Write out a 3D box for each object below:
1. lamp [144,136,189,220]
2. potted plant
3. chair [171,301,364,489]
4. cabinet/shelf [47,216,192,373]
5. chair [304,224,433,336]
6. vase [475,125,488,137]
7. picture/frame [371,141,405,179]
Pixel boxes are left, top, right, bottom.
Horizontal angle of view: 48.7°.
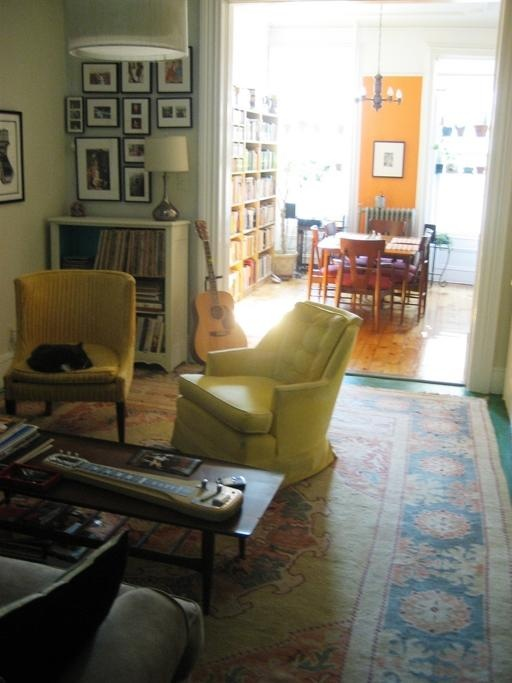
[{"bbox_3d":[-0.659,-1.222,4.242,0.294,0.634,0.451,1,15,-4],"label":"lamp"},{"bbox_3d":[0.887,-1.750,8.820,1.082,1.731,0.953,-8,3,-19],"label":"potted plant"},{"bbox_3d":[0.065,0.229,2.949,0.844,0.718,0.759,-10,19,-38],"label":"chair"},{"bbox_3d":[-0.935,-0.334,3.936,1.243,1.308,0.480,3,10,11],"label":"cabinet/shelf"},{"bbox_3d":[1.251,-0.753,6.392,1.350,0.955,1.594,6,15,15],"label":"chair"},{"bbox_3d":[3.122,-2.920,7.859,0.157,0.124,0.161,1,8,9],"label":"vase"},{"bbox_3d":[1.881,-2.582,7.987,0.546,0.558,0.022,5,11,13],"label":"picture/frame"}]
